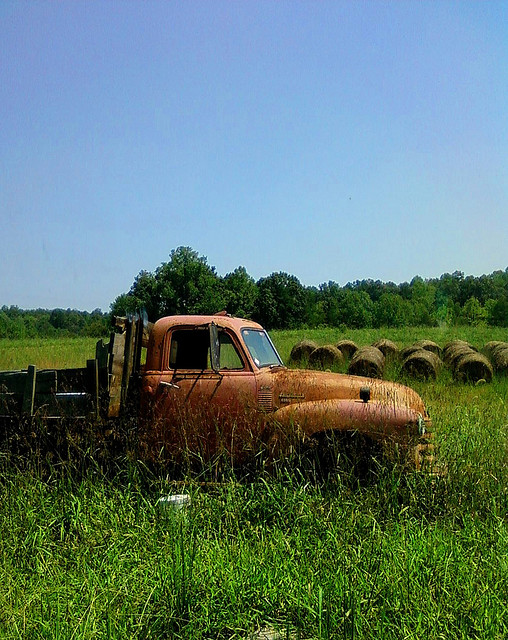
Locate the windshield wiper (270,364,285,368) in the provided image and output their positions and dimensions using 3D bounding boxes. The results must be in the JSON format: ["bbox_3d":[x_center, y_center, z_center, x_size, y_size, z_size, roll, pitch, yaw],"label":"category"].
[{"bbox_3d":[0.242,0.481,5.381,0.041,0.047,0.187,-16,-17,35],"label":"windshield wiper"}]

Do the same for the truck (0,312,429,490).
[{"bbox_3d":[-0.339,0.944,6.797,4.098,2.171,1.892,-2,0,14],"label":"truck"}]

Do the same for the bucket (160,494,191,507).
[{"bbox_3d":[-0.571,1.332,3.727,0.221,0.065,0.116,-3,-3,9],"label":"bucket"}]

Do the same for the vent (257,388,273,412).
[{"bbox_3d":[0.104,0.759,4.764,0.154,0.341,0.150,0,-16,0],"label":"vent"}]
